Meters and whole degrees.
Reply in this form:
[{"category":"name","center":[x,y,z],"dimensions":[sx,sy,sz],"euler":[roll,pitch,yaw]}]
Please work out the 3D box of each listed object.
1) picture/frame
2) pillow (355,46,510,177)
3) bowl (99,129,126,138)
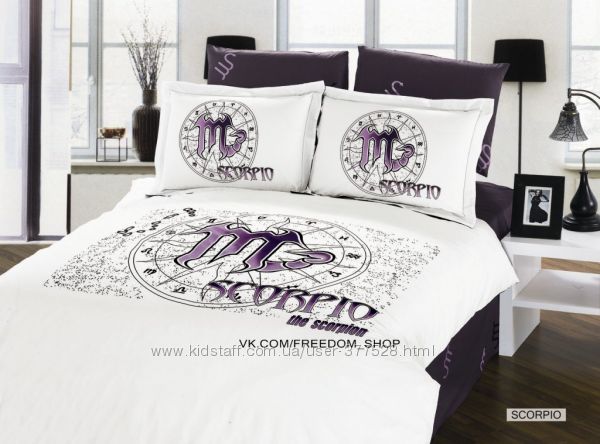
[{"category":"picture/frame","center":[1.058,-0.066,2.306],"dimensions":[0.272,0.369,0.027],"euler":[2,2,18]},{"category":"pillow","center":[0.628,-0.552,2.855],"dimensions":[1.071,0.790,0.386],"euler":[2,12,-15]},{"category":"bowl","center":[-1.421,-0.678,3.938],"dimensions":[0.160,0.084,0.148],"euler":[2,13,0]}]
